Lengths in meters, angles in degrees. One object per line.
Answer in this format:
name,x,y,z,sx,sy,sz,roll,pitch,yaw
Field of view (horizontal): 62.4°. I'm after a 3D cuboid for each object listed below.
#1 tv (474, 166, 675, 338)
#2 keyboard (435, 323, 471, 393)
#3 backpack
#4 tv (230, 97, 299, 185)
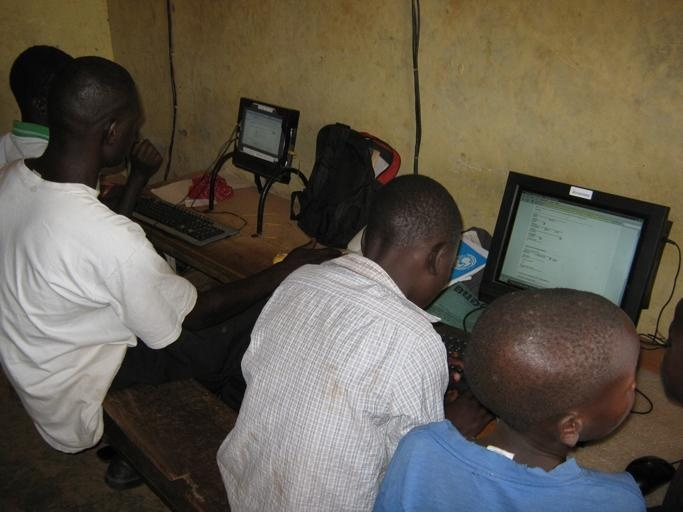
tv,0.807,0.012,1.950,0.306,0.504,0.530,-8,19,-44
keyboard,0.356,0.340,1.872,0.136,0.044,0.211,10,29,20
backpack,0.028,-0.247,2.462,0.394,0.534,0.188,23,9,25
tv,-0.351,-0.547,2.656,0.385,0.391,0.131,25,23,31
